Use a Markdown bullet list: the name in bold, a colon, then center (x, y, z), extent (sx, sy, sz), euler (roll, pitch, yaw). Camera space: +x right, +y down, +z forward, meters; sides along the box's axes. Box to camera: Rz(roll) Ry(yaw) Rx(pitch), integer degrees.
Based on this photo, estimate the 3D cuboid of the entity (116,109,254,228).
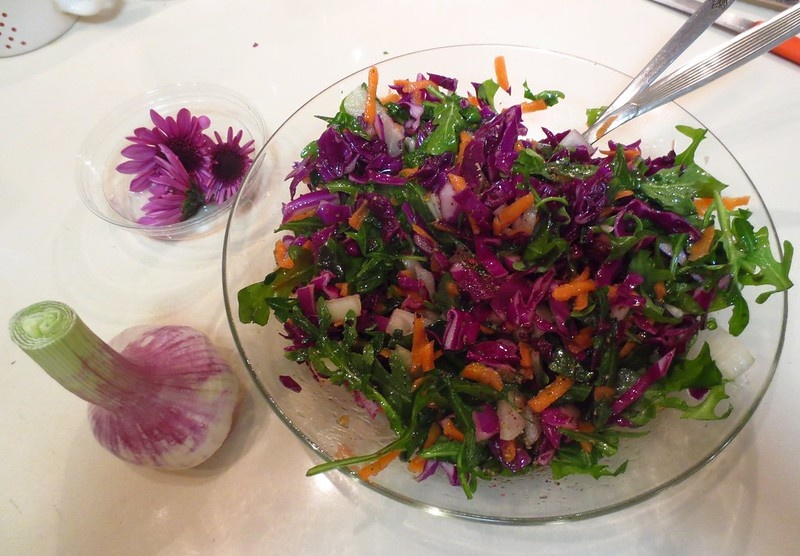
- **entity**: center (-0.884, -0.483, 2.718), extent (0.565, 0.266, 0.376), euler (-28, 68, -6)
